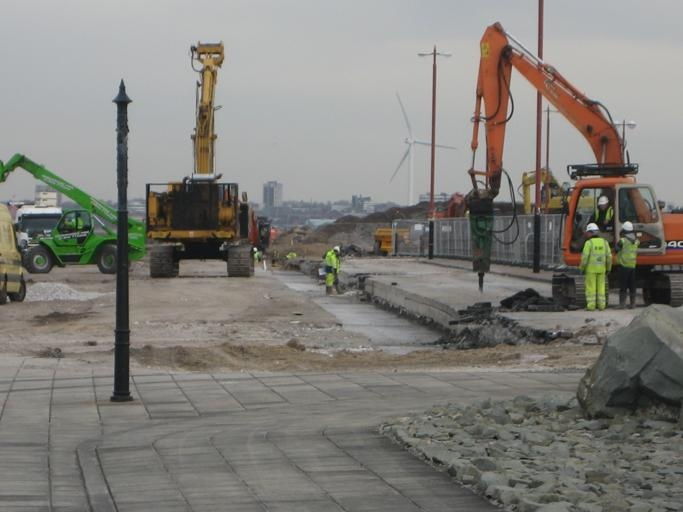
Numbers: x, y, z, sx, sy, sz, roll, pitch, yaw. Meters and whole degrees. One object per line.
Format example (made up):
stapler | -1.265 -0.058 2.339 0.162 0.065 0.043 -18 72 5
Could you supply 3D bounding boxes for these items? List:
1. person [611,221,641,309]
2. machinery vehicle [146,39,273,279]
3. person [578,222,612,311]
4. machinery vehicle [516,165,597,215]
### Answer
person | 5.783 0.190 22.740 0.433 1.825 0.866 0 5 15
machinery vehicle | -4.940 -3.333 36.907 4.619 7.275 4.969 10 14 41
person | 4.988 0.395 22.087 0.637 1.535 0.551 -1 5 7
machinery vehicle | 11.418 -3.627 59.352 4.462 2.568 1.363 0 11 42
